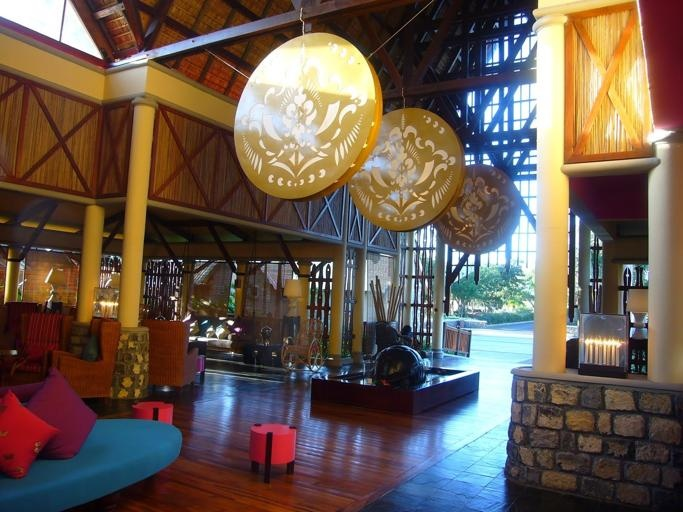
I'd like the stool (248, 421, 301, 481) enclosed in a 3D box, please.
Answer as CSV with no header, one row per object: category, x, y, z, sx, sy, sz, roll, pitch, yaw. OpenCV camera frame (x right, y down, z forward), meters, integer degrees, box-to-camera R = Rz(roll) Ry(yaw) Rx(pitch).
stool,-0.685,1.904,5.257,0.435,0.553,0.454,1,0,-36
